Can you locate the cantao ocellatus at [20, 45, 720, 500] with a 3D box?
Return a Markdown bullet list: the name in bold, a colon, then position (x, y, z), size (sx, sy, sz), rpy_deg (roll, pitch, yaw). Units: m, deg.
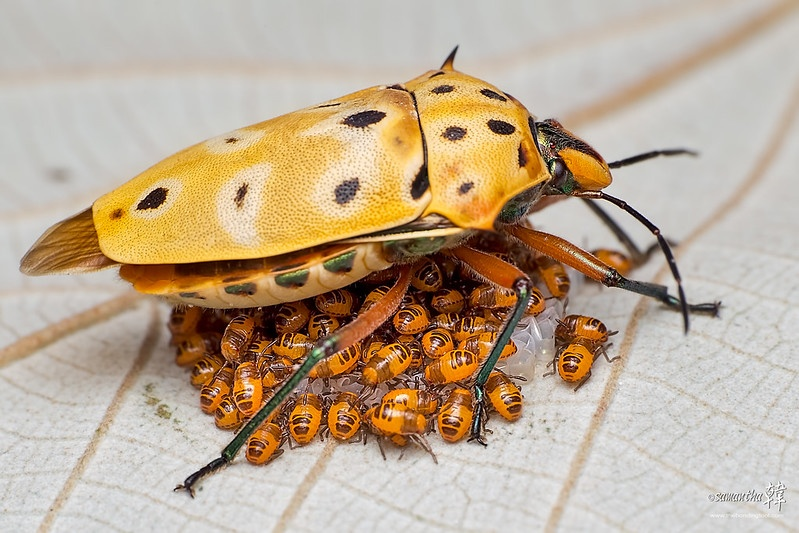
- **cantao ocellatus**: position (-0.155, -0.273, 5.305), size (4.039, 1.360, 2.975), rpy_deg (-7, 34, -7)
